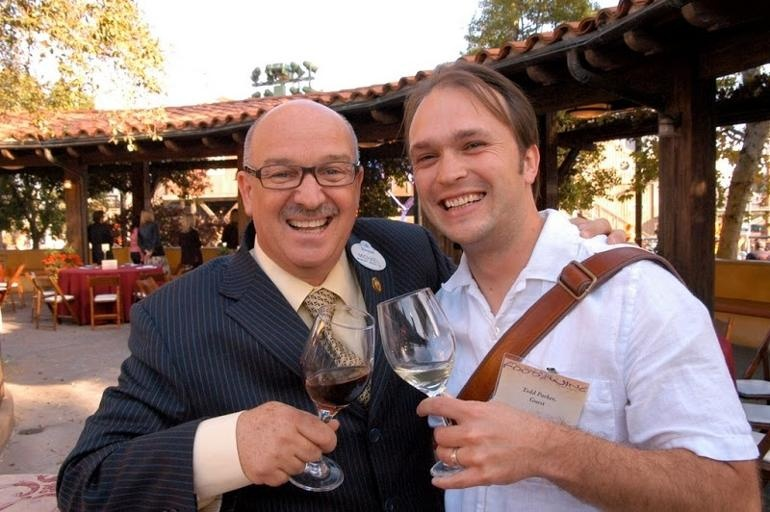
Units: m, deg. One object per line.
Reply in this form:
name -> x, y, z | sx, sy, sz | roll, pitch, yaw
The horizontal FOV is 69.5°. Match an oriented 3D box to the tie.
tie -> -0.204, 0.474, 2.408 | 0.237, 0.489, 0.260 | 2, 4, 43
